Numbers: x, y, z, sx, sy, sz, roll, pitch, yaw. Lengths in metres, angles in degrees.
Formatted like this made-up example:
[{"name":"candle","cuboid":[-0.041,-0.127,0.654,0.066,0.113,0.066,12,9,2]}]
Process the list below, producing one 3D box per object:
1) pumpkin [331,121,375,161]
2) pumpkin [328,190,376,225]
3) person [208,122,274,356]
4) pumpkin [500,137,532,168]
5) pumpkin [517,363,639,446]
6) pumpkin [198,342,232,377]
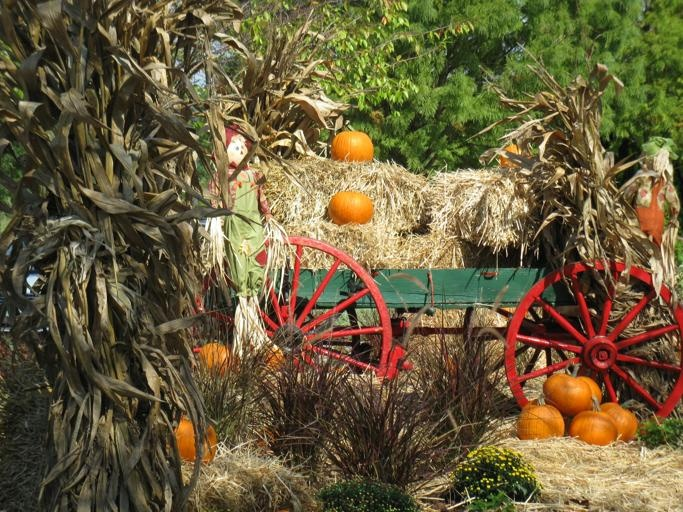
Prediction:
[{"name":"pumpkin","cuboid":[0.092,-0.909,6.609,0.270,0.309,0.297,0,6,20]},{"name":"pumpkin","cuboid":[0.065,-0.324,5.738,0.222,0.252,0.246,3,-2,-2]},{"name":"person","cuboid":[-0.588,-0.073,4.892,0.393,1.369,1.895,3,6,-8]},{"name":"pumpkin","cuboid":[1.213,-0.702,5.775,0.181,0.204,0.800,5,5,9]},{"name":"pumpkin","cuboid":[1.407,0.940,5.018,0.456,0.277,0.505,-1,-2,5]},{"name":"pumpkin","cuboid":[-0.702,0.564,4.626,0.133,0.177,0.203,6,-17,9]}]
